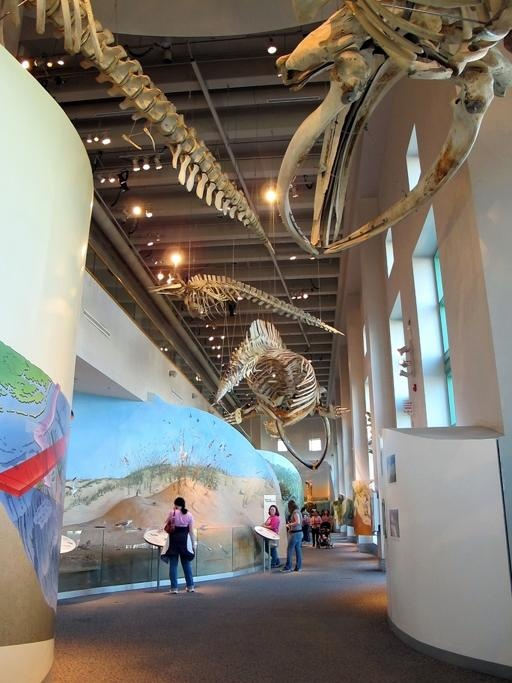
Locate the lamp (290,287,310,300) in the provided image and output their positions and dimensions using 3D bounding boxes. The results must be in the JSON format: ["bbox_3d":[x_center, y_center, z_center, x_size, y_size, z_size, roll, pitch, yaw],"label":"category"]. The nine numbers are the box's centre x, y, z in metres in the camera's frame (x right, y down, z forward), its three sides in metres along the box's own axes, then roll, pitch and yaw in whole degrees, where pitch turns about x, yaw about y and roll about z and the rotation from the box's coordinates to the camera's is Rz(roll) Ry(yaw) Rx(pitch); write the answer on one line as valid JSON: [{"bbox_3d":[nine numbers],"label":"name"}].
[{"bbox_3d":[1.416,-1.592,15.086,0.464,0.489,0.178,-3,-7,-4],"label":"lamp"}]

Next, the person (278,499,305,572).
[{"bbox_3d":[0.723,3.683,8.428,0.348,1.229,0.392,-13,-24,40],"label":"person"}]

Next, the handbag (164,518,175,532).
[{"bbox_3d":[-1.205,2.534,6.020,0.100,0.200,0.226,3,-16,-28],"label":"handbag"}]

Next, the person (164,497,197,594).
[{"bbox_3d":[-1.092,2.842,6.192,0.395,1.246,0.802,-2,-14,-9],"label":"person"}]
